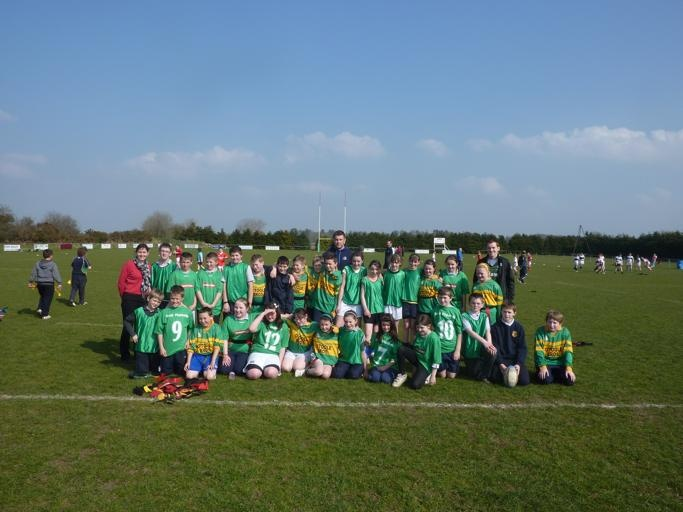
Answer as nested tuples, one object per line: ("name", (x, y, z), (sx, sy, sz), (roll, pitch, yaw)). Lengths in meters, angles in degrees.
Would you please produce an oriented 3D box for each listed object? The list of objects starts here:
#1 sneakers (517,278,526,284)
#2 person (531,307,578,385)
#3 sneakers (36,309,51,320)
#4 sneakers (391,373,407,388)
("sneakers", (8.367, 1.190, 31.904), (0.388, 0.312, 0.139), (-8, 9, -2))
("person", (3.925, 1.690, 12.715), (0.717, 1.306, 0.969), (-3, 8, -4))
("sneakers", (-7.682, 1.509, 17.501), (0.223, 0.316, 0.649), (1, 3, 5))
("sneakers", (1.067, 2.326, 12.710), (0.163, 0.232, 0.382), (1, 0, 45))
